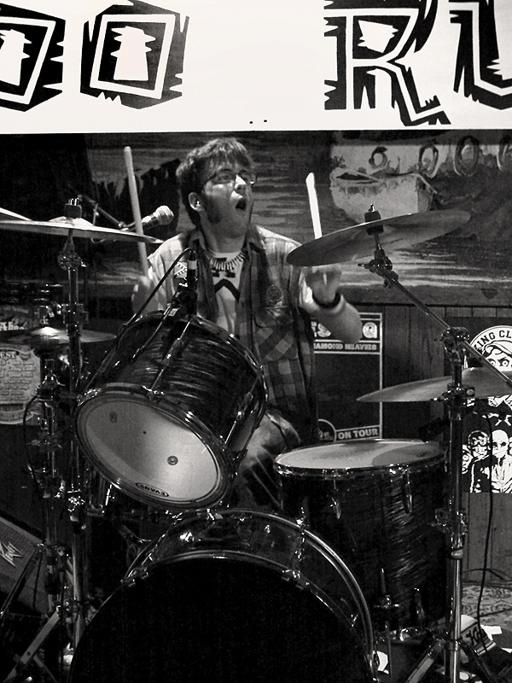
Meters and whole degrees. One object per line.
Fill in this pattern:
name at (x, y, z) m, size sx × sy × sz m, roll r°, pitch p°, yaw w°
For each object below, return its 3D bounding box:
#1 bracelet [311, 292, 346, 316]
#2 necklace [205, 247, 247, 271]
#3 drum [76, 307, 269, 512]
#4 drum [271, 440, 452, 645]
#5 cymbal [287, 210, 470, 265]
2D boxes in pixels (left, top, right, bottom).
bracelet at (0.212, -0.106, 2.739) m, size 0.072 × 0.031 × 0.079 m, roll 10°, pitch -11°, yaw 15°
necklace at (-0.098, -0.258, 2.999) m, size 0.088 × 0.071 × 0.020 m, roll 14°, pitch -6°, yaw 2°
drum at (-0.233, 0.175, 2.285) m, size 0.434 × 0.405 × 0.405 m, roll 19°, pitch -28°, yaw -30°
drum at (0.283, 0.498, 2.567) m, size 0.496 × 0.435 × 0.482 m, roll -18°, pitch 8°, yaw 28°
cymbal at (0.304, -0.271, 2.460) m, size 0.277 × 0.059 × 0.263 m, roll -19°, pitch 1°, yaw -23°
